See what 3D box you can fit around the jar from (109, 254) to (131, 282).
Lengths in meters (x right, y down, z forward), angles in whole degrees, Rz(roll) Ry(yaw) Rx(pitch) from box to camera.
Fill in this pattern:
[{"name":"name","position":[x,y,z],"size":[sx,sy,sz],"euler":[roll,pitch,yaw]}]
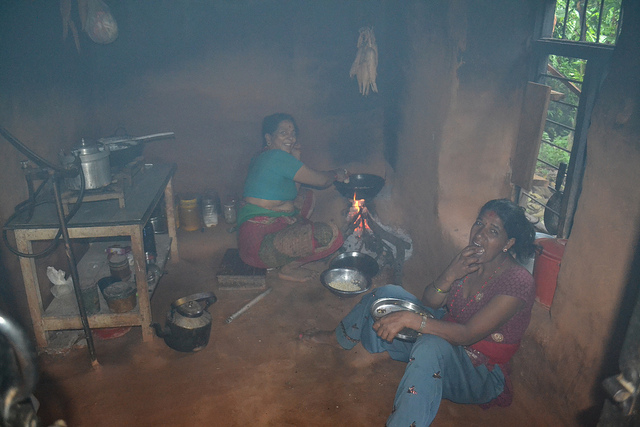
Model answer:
[{"name":"jar","position":[-2.226,0.626,5.846],"size":[0.283,0.283,0.265],"euler":[4,25,-2]}]

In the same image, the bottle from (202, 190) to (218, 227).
[{"name":"bottle","position":[-1.746,-0.072,8.047],"size":[0.209,0.528,0.297],"euler":[-10,23,-22]}]

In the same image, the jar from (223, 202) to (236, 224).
[{"name":"jar","position":[-1.419,-0.004,8.101],"size":[0.181,0.344,0.103],"euler":[-5,22,-10]}]

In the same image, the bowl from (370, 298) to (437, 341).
[{"name":"bowl","position":[0.790,0.993,4.933],"size":[0.625,0.268,0.467],"euler":[4,20,10]}]

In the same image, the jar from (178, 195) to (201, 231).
[{"name":"jar","position":[-2.000,0.006,7.839],"size":[0.351,0.504,0.335],"euler":[0,25,0]}]
